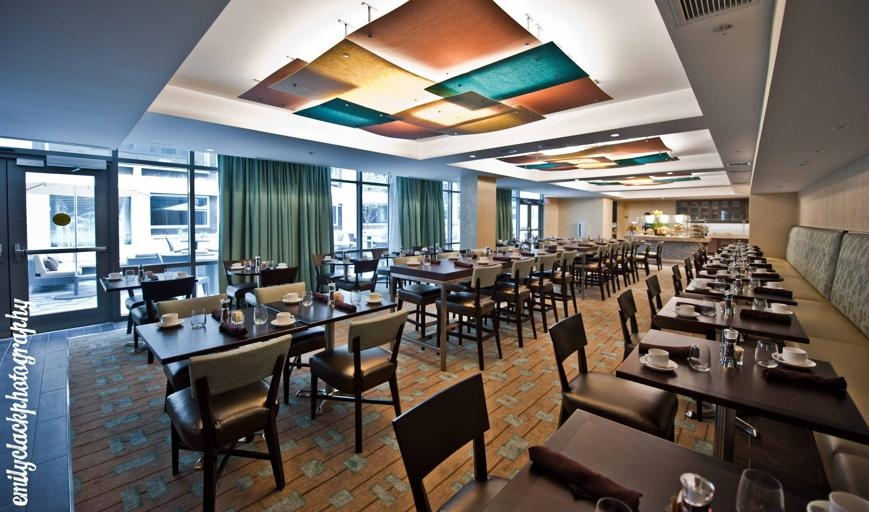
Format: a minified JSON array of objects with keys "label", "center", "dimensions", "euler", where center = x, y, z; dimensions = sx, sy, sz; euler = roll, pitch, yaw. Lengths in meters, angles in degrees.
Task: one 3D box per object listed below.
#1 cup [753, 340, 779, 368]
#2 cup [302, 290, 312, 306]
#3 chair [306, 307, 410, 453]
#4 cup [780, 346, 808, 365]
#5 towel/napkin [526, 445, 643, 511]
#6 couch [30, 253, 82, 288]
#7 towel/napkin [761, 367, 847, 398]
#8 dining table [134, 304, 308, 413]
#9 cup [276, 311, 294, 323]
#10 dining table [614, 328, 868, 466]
[{"label":"cup","center":[3.200,0.939,4.591],"dimensions":[0.265,0.230,0.246],"euler":[-1,-4,0]},{"label":"cup","center":[-1.496,0.518,5.753],"dimensions":[0.155,0.133,0.142],"euler":[-1,1,0]},{"label":"chair","center":[-0.897,1.290,5.485],"dimensions":[0.999,1.181,0.997],"euler":[-4,7,-30]},{"label":"cup","center":[3.456,0.959,4.622],"dimensions":[0.183,0.111,0.190],"euler":[-2,-1,0]},{"label":"towel/napkin","center":[1.198,1.757,3.827],"dimensions":[0.830,0.434,0.150],"euler":[-2,4,17]},{"label":"couch","center":[-6.308,0.217,8.068],"dimensions":[0.574,0.472,1.047],"euler":[2,1,-26]},{"label":"towel/napkin","center":[3.381,1.141,4.368],"dimensions":[0.399,0.080,0.364],"euler":[2,0,-13]},{"label":"dining table","center":[-2.248,0.897,5.054],"dimensions":[1.402,0.734,1.356],"euler":[-6,11,-40]},{"label":"cup","center":[-1.649,0.680,5.303],"dimensions":[0.118,0.086,0.143],"euler":[-2,-8,6]},{"label":"dining table","center":[3.131,1.547,4.971],"dimensions":[1.625,1.370,1.563],"euler":[9,26,30]}]
